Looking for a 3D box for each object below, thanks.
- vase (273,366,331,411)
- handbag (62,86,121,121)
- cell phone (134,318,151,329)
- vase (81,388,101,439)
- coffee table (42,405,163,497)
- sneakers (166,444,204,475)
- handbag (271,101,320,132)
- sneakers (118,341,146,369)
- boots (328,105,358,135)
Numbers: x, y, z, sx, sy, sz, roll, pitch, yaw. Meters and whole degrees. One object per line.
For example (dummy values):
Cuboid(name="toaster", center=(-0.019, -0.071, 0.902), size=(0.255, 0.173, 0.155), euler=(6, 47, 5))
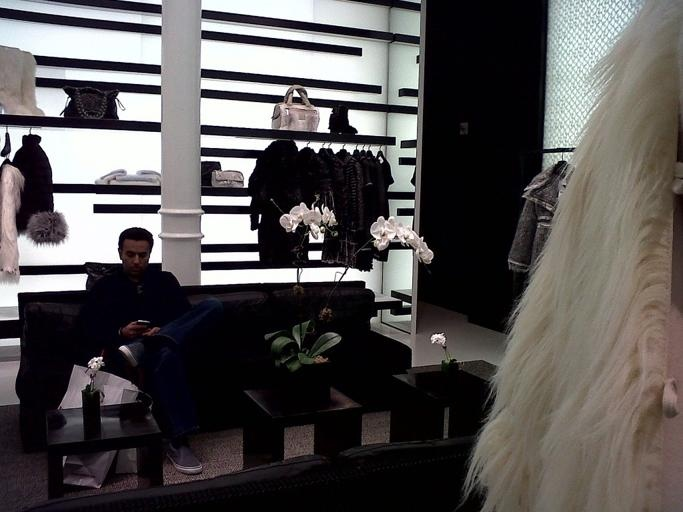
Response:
Cuboid(name="vase", center=(-0.170, 0.547, 2.252), size=(0.199, 0.160, 0.151), euler=(1, 4, 6))
Cuboid(name="handbag", center=(-1.941, -1.181, 4.080), size=(0.395, 0.285, 0.381), euler=(-3, 6, -30))
Cuboid(name="cell phone", center=(-1.118, 0.379, 2.964), size=(0.070, 0.046, 0.091), euler=(-1, 5, -11))
Cuboid(name="vase", center=(-1.021, 0.629, 2.146), size=(0.063, 0.171, 0.146), euler=(-2, 5, -29))
Cuboid(name="coffee table", center=(-1.020, 0.820, 2.273), size=(0.429, 0.290, 0.401), euler=(-2, 6, -26))
Cuboid(name="sneakers", center=(-0.849, 1.083, 2.849), size=(0.087, 0.088, 0.241), euler=(1, 2, -31))
Cuboid(name="handbag", center=(-0.413, -1.210, 4.743), size=(0.429, 0.310, 0.237), euler=(0, 15, -17))
Cuboid(name="sneakers", center=(-1.132, 0.530, 2.852), size=(0.090, 0.074, 0.211), euler=(-7, 16, -11))
Cuboid(name="boots", center=(-0.025, -1.284, 5.089), size=(0.285, 0.309, 0.257), euler=(3, -2, -20))
